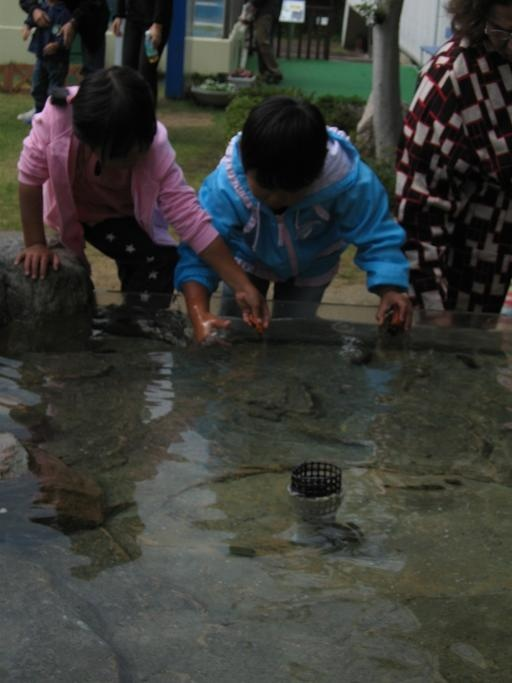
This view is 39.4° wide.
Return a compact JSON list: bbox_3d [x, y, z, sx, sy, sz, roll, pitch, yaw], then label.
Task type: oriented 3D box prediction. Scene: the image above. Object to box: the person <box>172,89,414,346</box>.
[{"bbox_3d":[0.095,-0.384,2.339,0.661,0.724,0.700,-1,13,-24],"label":"person"}]
